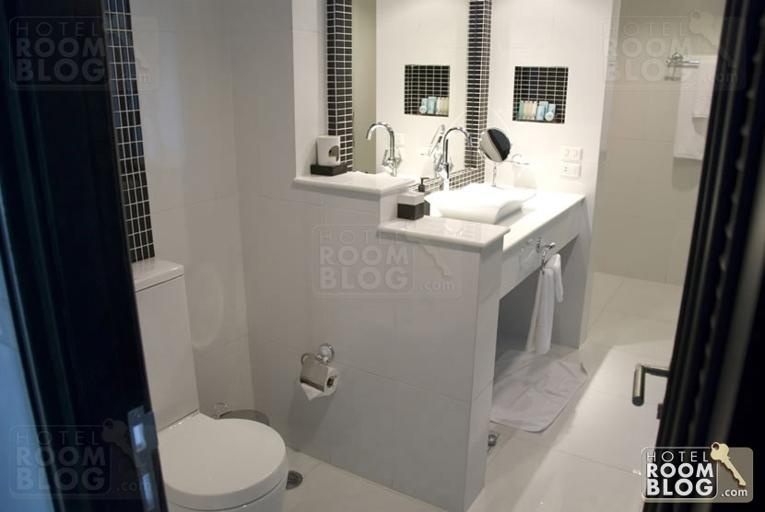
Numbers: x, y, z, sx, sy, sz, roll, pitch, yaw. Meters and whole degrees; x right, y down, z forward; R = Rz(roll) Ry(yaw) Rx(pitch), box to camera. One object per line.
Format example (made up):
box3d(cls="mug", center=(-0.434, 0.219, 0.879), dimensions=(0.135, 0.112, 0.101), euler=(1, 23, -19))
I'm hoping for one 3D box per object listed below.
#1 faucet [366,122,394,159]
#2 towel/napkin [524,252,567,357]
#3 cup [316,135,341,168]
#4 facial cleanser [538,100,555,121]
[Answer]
box3d(cls="faucet", center=(-0.010, -0.520, 2.420), dimensions=(0.130, 0.166, 0.076), euler=(1, 15, -1))
box3d(cls="towel/napkin", center=(0.786, 0.225, 2.555), dimensions=(0.136, 0.449, 0.345), euler=(6, 16, 19))
box3d(cls="cup", center=(-0.228, -0.441, 2.239), dimensions=(0.101, 0.121, 0.097), euler=(1, 15, 0))
box3d(cls="facial cleanser", center=(0.871, -0.778, 2.869), dimensions=(0.096, 0.101, 0.029), euler=(9, 8, 41))
